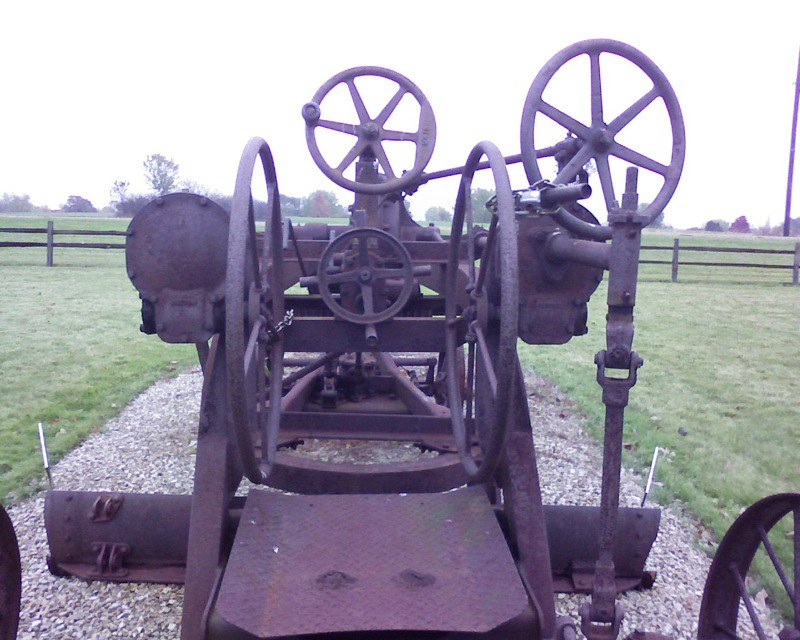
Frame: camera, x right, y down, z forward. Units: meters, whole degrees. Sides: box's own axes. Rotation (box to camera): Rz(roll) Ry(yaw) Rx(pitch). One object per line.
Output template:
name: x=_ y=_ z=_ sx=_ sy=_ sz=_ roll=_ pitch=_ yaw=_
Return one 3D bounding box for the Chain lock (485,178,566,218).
Chain lock: x=0.717 y=-0.638 z=3.526 sx=0.149 sy=0.174 sz=0.371 roll=-4 pitch=11 yaw=-36

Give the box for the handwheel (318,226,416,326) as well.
handwheel: x=-0.265 y=-0.328 z=5.349 sx=0.778 sy=0.930 sz=0.308 roll=1 pitch=6 yaw=5
